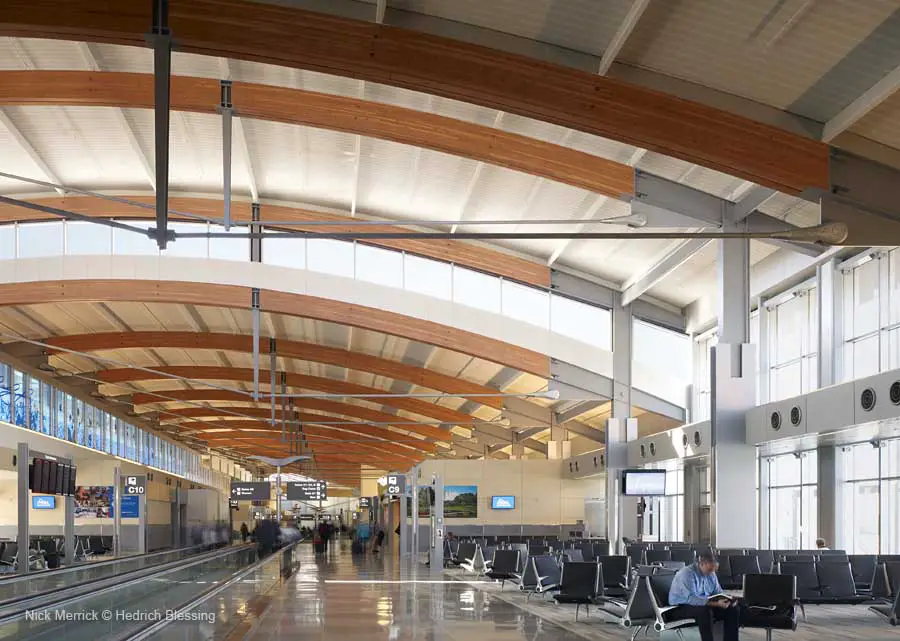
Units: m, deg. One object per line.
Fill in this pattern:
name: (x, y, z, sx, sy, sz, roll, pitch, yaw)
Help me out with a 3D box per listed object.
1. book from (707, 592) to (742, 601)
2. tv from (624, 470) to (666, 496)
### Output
book: (4.280, 4.283, 13.663, 0.435, 0.128, 0.905, -6, -18, 15)
tv: (6.076, 4.974, 27.311, 1.328, 0.785, 0.661, -3, -18, 5)
